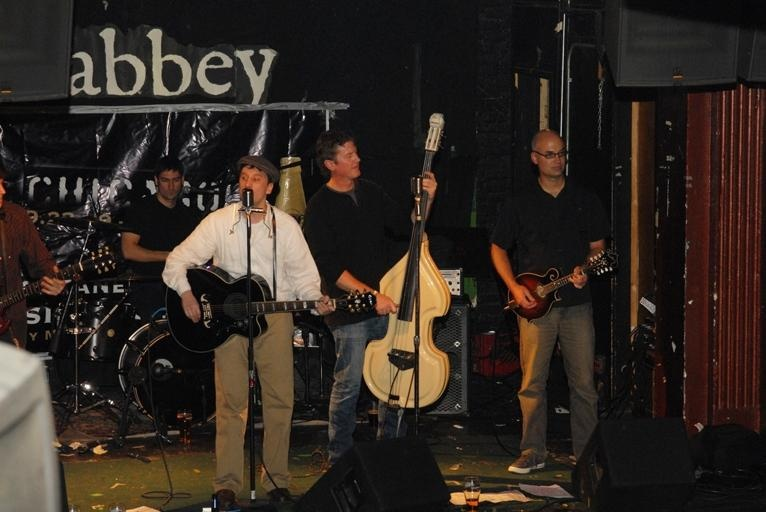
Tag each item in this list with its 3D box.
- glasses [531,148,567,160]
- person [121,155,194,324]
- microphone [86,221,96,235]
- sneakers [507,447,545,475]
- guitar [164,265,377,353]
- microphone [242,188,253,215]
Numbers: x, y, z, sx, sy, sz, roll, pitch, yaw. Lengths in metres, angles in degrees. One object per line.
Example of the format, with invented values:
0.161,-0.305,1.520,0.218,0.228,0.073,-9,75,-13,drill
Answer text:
1.377,-0.854,7.917,0.264,0.095,0.116,0,-3,7,glasses
-2.128,-0.117,9.168,0.573,1.650,0.621,-1,-21,0,person
-2.702,-0.282,8.838,0.057,0.107,0.044,2,6,-6,microphone
1.196,1.703,7.986,0.370,0.158,0.139,0,9,-32,sneakers
-0.994,0.400,7.399,1.368,0.649,0.415,1,-2,-11,guitar
-0.993,-0.411,7.002,0.076,0.181,0.098,0,-2,-6,microphone
